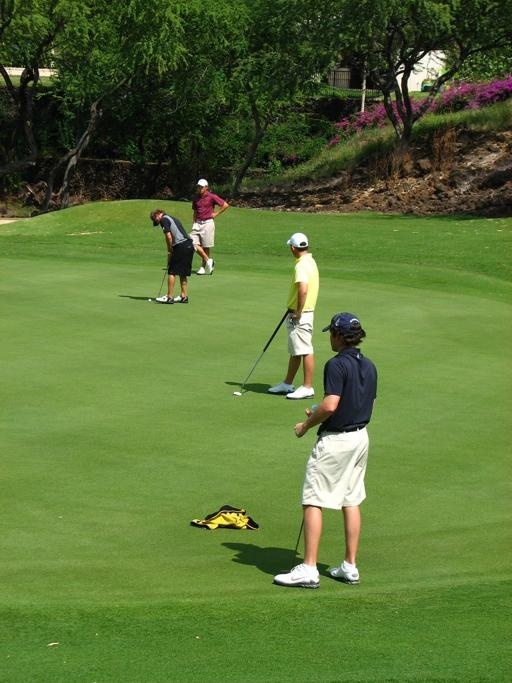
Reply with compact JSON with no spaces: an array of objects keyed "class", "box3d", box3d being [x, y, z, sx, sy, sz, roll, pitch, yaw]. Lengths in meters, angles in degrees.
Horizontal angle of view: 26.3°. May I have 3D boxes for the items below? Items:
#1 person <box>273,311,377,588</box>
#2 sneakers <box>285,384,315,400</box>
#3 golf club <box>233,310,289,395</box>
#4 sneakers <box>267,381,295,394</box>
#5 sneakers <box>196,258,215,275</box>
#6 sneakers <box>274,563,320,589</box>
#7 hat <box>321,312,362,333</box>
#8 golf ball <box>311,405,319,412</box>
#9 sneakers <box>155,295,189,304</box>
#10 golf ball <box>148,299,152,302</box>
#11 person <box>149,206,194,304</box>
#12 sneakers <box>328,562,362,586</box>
[{"class":"person","box3d":[0.423,0.635,6.411,0.543,1.575,0.592,0,7,10]},{"class":"sneakers","box3d":[0.427,0.497,10.313,0.304,0.114,0.103,-4,11,-2]},{"class":"golf club","box3d":[0.066,0.159,11.905,0.054,1.151,0.172,39,0,-38]},{"class":"sneakers","box3d":[0.252,0.466,10.491,0.274,0.101,0.094,0,11,-2]},{"class":"sneakers","box3d":[-0.789,-1.244,18.505,0.193,0.203,0.507,0,9,13]},{"class":"sneakers","box3d":[0.257,1.377,6.322,0.306,0.130,0.104,3,4,-1]},{"class":"hat","box3d":[0.506,-0.111,6.462,0.190,0.099,0.137,5,6,43]},{"class":"golf ball","box3d":[0.352,0.406,6.402,0.047,0.040,0.044,0,0,0]},{"class":"sneakers","box3d":[-1.134,-0.551,14.944,0.452,0.154,0.155,3,0,-14]},{"class":"golf ball","box3d":[-1.449,-0.557,15.128,0.052,0.025,0.049,-2,6,0]},{"class":"person","box3d":[-1.118,-1.155,14.947,0.537,1.299,0.452,-2,7,-6]},{"class":"sneakers","box3d":[0.513,1.363,6.364,0.085,0.097,0.225,-6,6,-24]}]
